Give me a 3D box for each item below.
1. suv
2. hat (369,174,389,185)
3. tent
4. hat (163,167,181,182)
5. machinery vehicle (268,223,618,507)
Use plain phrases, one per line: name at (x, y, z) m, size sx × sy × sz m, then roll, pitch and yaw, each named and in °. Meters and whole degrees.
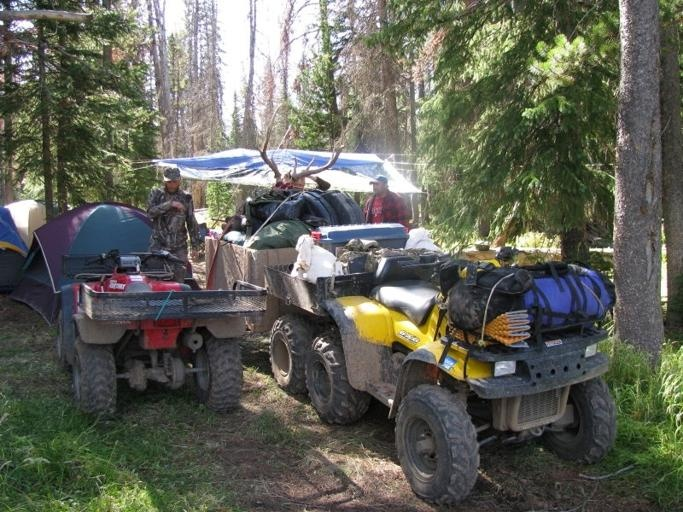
suv at (-2.011, 0.890, 6.868) m, size 1.422 × 1.656 × 2.476 m, roll 2°, pitch 10°, yaw -28°
hat at (0.676, -1.369, 11.027) m, size 0.303 × 0.170 × 0.229 m, roll 4°, pitch 1°, yaw -16°
tent at (-4.329, -0.180, 10.203) m, size 2.059 × 1.614 × 2.111 m, roll -6°, pitch 6°, yaw -34°
hat at (-2.320, -1.125, 8.463) m, size 0.224 × 0.123 × 0.358 m, roll -4°, pitch 41°, yaw -8°
machinery vehicle at (0.733, 0.818, 7.145) m, size 2.063 × 2.236 × 3.839 m, roll -3°, pitch 7°, yaw -27°
